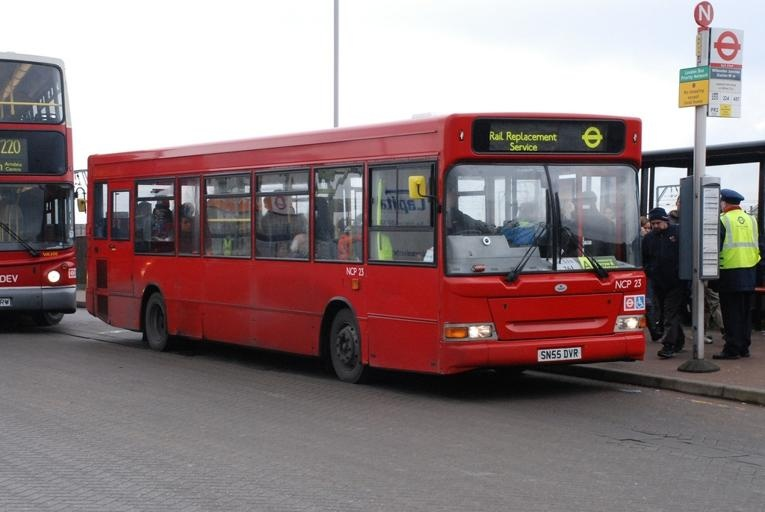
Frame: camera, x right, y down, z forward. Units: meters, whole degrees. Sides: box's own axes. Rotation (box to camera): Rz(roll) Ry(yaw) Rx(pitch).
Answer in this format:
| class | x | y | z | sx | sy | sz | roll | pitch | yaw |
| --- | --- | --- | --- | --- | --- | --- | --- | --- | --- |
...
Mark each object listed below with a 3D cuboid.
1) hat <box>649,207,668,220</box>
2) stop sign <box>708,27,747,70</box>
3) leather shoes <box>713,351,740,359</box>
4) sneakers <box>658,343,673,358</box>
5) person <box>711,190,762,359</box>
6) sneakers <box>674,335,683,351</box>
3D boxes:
| class | x | y | z | sx | sy | sz | roll | pitch | yaw |
| --- | --- | --- | --- | --- | --- | --- | --- | --- | --- |
| hat | 5.029 | -0.777 | 12.046 | 0.269 | 0.223 | 0.206 | -8 | 5 | -10 |
| stop sign | 5.332 | -3.219 | 10.235 | 0.569 | 0.592 | 0.181 | 2 | -2 | -8 |
| leather shoes | 5.798 | 1.666 | 11.242 | 0.530 | 0.119 | 0.217 | 2 | -2 | -13 |
| sneakers | 4.885 | 1.635 | 11.471 | 0.284 | 0.228 | 0.192 | 2 | -2 | 6 |
| person | 6.097 | 0.274 | 11.434 | 0.666 | 2.932 | 1.463 | 1 | -2 | 29 |
| sneakers | 5.315 | 1.530 | 11.886 | 0.144 | 0.199 | 0.457 | -2 | 13 | 20 |
